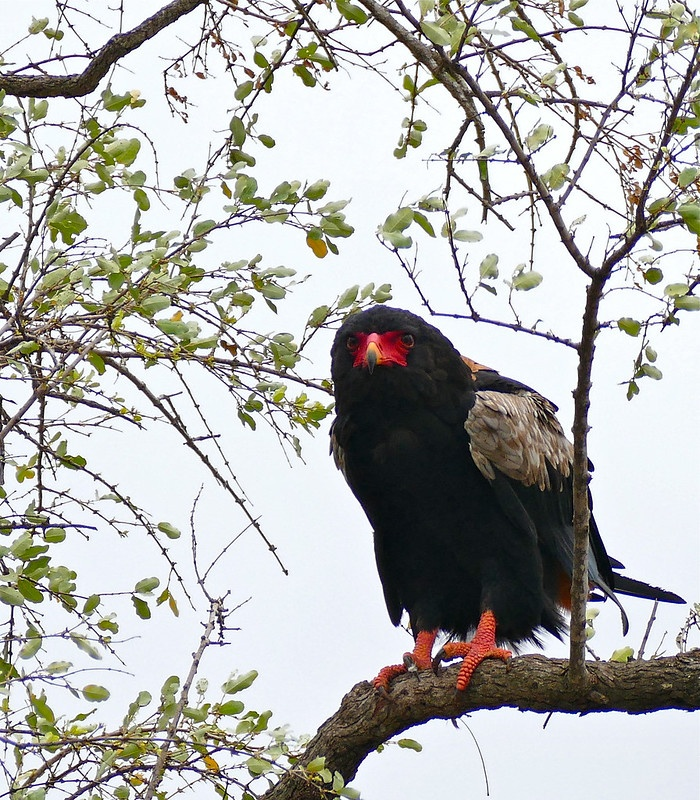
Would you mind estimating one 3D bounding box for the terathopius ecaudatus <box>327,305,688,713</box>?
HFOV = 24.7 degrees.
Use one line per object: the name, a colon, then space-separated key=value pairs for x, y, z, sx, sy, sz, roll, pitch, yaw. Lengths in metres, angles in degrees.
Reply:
terathopius ecaudatus: x=0.550 y=0.406 z=6.293 sx=0.749 sy=1.445 sz=1.843 roll=-13 pitch=-16 yaw=36
